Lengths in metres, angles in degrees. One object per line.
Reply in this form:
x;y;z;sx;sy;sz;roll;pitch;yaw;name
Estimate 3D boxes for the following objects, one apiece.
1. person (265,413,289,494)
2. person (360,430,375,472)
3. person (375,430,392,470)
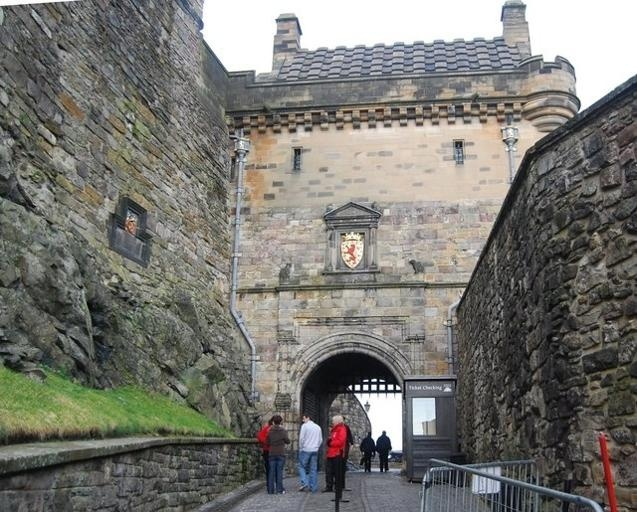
-0.749;3.603;10.503;0.368;1.396;0.380;-1;-37;-1;person
1.506;6.011;18.005;0.419;1.273;0.281;6;11;18;person
1.922;5.677;17.207;0.361;1.283;0.376;1;11;14;person
